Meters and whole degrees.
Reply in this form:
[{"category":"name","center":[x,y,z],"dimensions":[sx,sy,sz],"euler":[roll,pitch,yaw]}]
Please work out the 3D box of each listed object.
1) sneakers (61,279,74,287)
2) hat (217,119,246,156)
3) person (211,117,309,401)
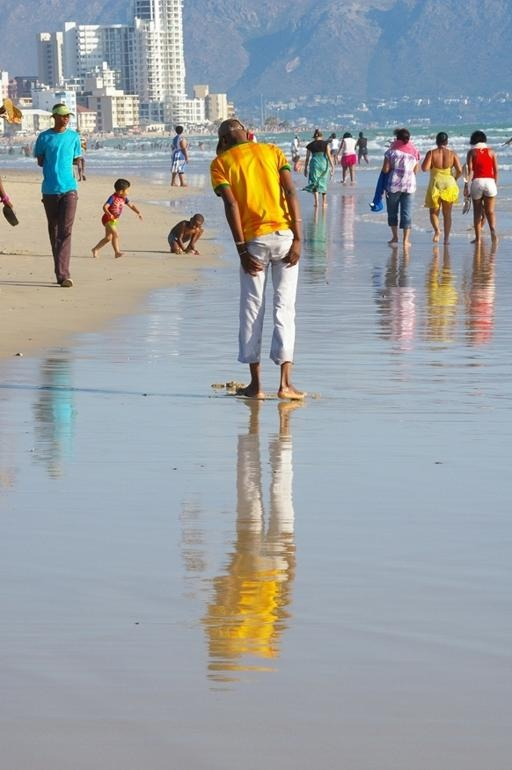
[{"category":"sneakers","center":[-2.050,-1.081,11.906],"dimensions":[0.128,0.095,0.162],"euler":[-4,13,-11]},{"category":"hat","center":[-0.141,-1.404,6.302],"dimensions":[0.170,0.238,0.221],"euler":[2,6,2]},{"category":"person","center":[0.006,-0.683,6.372],"dimensions":[0.501,1.643,0.406],"euler":[-2,12,-1]}]
